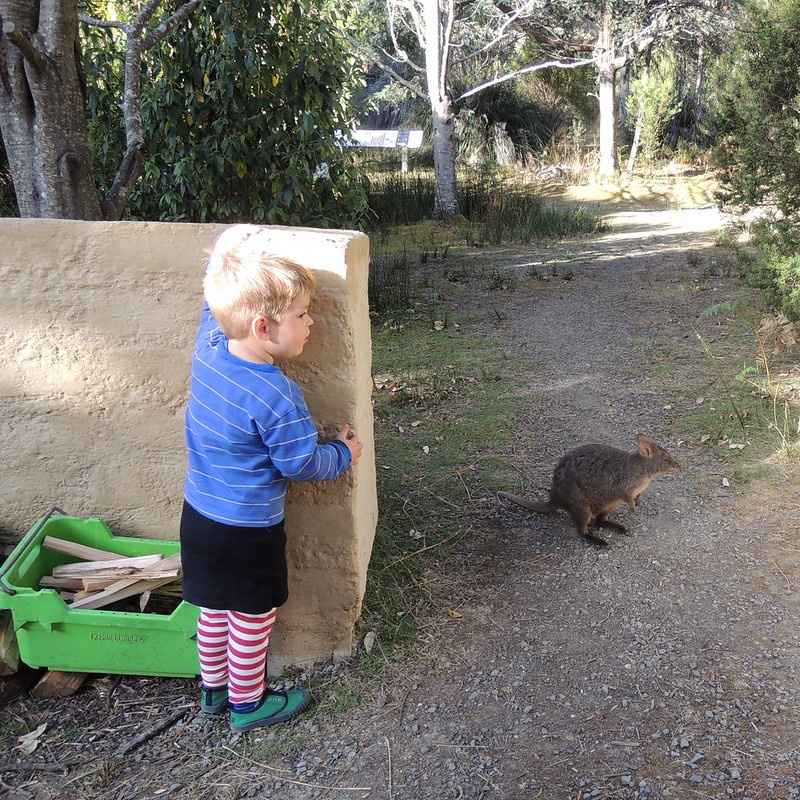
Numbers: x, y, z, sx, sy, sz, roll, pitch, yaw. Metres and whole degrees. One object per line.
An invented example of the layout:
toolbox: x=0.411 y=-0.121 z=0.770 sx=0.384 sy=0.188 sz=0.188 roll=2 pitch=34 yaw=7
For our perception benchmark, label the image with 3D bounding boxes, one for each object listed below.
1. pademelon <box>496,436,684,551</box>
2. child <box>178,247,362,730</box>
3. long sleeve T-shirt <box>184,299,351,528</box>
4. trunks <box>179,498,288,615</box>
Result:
pademelon: x=1.034 y=0.437 z=3.957 sx=0.881 sy=0.530 sz=0.458 roll=4 pitch=14 yaw=17
child: x=-0.546 y=0.342 z=2.902 sx=0.721 sy=1.827 sz=0.640 roll=13 pitch=17 yaw=38
long sleeve T-shirt: x=-0.491 y=0.098 z=2.674 sx=0.584 sy=0.691 sz=0.299 roll=0 pitch=14 yaw=3
trunks: x=-0.636 y=0.564 z=2.745 sx=0.360 sy=0.393 sz=0.229 roll=11 pitch=20 yaw=-2
